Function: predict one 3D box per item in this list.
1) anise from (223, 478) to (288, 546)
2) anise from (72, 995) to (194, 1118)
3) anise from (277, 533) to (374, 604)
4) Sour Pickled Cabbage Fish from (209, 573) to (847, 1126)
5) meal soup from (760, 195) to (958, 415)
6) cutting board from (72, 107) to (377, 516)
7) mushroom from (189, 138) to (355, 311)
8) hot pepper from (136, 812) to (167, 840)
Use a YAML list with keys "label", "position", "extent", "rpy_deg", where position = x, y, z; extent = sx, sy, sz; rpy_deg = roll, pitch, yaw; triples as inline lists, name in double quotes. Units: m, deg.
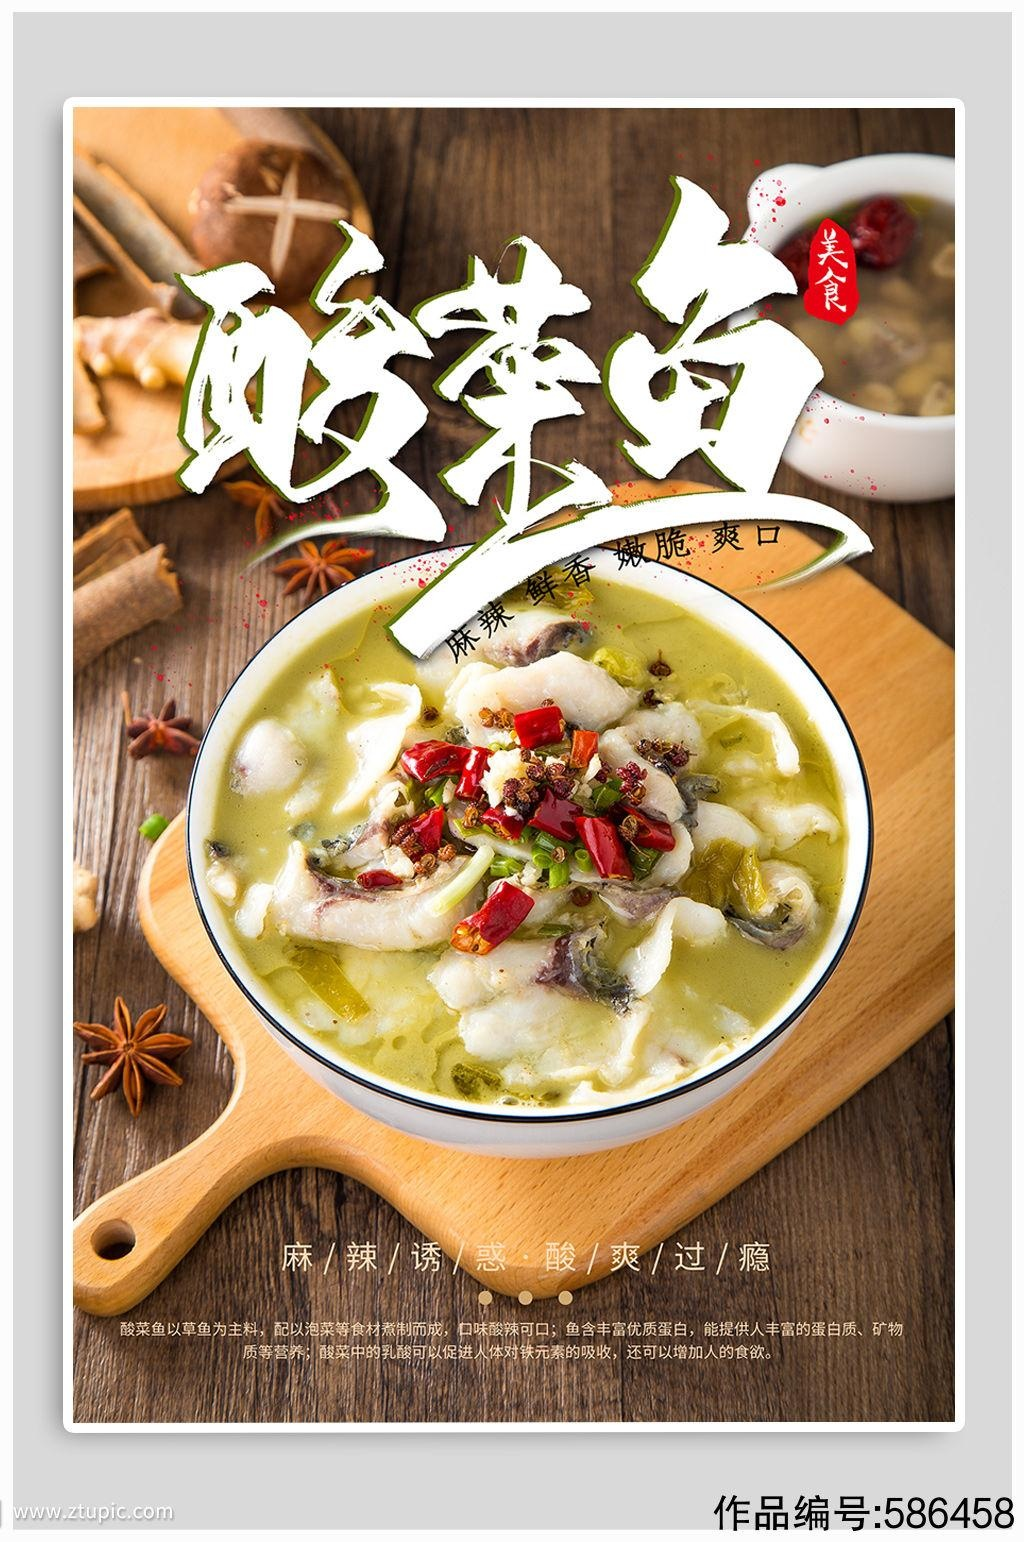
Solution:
- label: "anise"
  position: [-0.598, -0.619, 3.260]
  extent: [0.123, 0.112, 0.038]
  rpy_deg: [48, 19, 10]
- label: "anise"
  position: [-0.835, 0.621, 3.056]
  extent: [0.241, 0.092, 0.235]
  rpy_deg: [-23, 63, -33]
- label: "anise"
  position: [-0.459, -0.486, 3.314]
  extent: [0.174, 0.174, 0.046]
  rpy_deg: [-14, 31, 26]
- label: "Sour Pickled Cabbage Fish"
  position: [0.060, 0.134, 2.802]
  extent: [1.056, 1.092, 0.426]
  rpy_deg: [39, -16, 16]
- label: "meal soup"
  position: [0.787, -0.992, 3.038]
  extent: [0.645, 0.430, 0.237]
  rpy_deg: [-3, 13, 31]
- label: "cutting board"
  position: [-0.658, -1.031, 3.164]
  extent: [0.689, 0.822, 0.292]
  rpy_deg: [-5, 10, -5]
- label: "mushroom"
  position: [-0.540, -1.259, 3.189]
  extent: [0.296, 0.396, 0.105]
  rpy_deg: [-4, 18, -10]
- label: "hot pepper"
  position: [-0.841, 0.125, 3.258]
  extent: [0.057, 0.057, 0.021]
  rpy_deg: [40, -3, -37]
